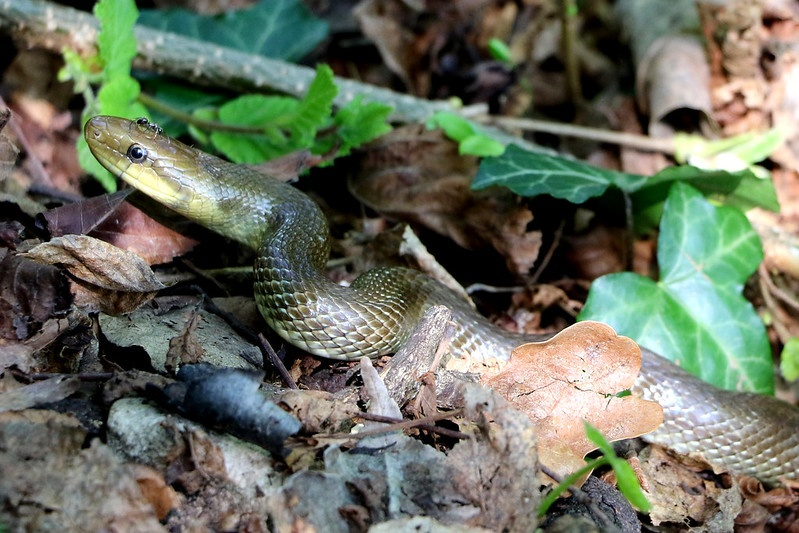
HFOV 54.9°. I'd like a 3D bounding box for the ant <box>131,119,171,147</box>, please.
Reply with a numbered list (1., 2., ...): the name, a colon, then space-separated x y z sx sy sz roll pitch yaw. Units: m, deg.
1. ant: -1.511 -0.823 4.683 0.202 0.061 0.142 36 48 -5
